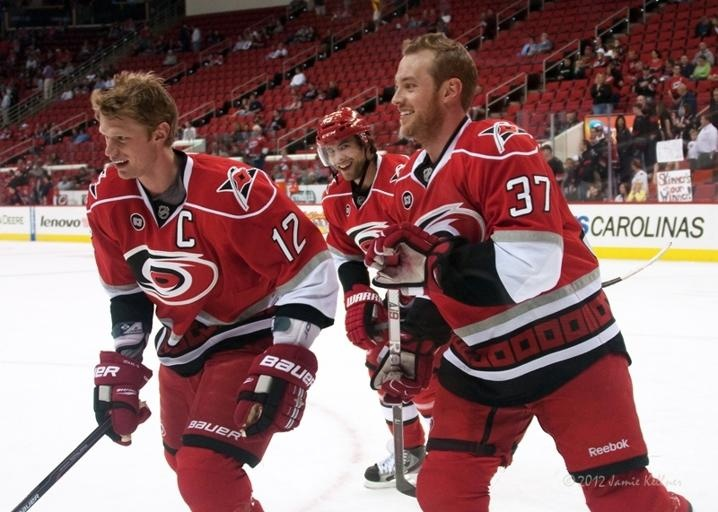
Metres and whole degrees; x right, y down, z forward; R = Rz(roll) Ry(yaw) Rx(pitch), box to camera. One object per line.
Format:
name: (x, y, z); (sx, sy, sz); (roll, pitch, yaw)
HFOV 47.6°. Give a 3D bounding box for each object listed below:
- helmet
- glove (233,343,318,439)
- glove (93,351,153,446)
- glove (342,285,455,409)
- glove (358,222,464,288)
helmet: (-0.120, -0.759, 5.063); (0.379, 0.353, 0.314); (9, -25, -41)
glove: (-0.373, 0.605, 3.565); (0.269, 0.411, 0.161); (29, -21, 2)
glove: (-1.096, 0.671, 3.836); (0.383, 0.387, 0.177); (-16, -20, 31)
glove: (0.187, 0.417, 4.099); (0.576, 0.572, 0.250); (12, 1, 14)
glove: (0.193, -0.001, 3.374); (0.275, 0.144, 0.327); (7, -28, 4)
